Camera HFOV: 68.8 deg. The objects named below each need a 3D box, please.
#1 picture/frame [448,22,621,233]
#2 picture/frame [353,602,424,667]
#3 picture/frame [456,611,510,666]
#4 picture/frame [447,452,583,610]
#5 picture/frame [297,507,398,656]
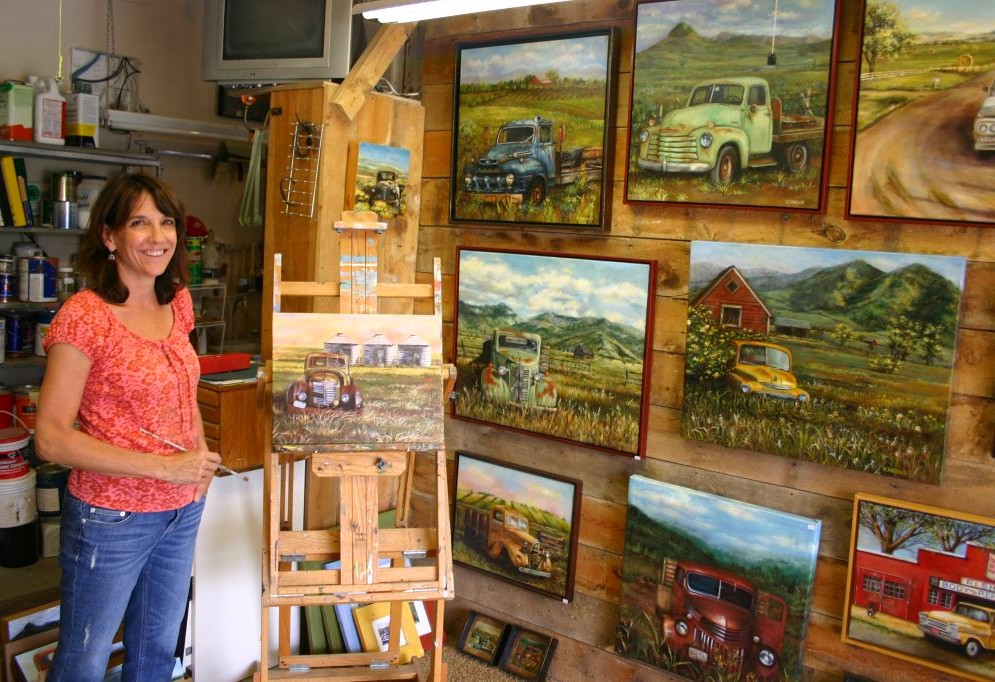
[{"bbox_3d":[0.199,-0.959,3.242,0.977,0.989,0.045,6,6,25],"label":"picture/frame"},{"bbox_3d":[-0.509,1.302,3.304,0.329,0.302,0.076,-4,-26,-35],"label":"picture/frame"},{"bbox_3d":[-0.069,1.468,3.599,0.256,0.241,0.052,20,-17,45],"label":"picture/frame"},{"bbox_3d":[0.109,0.884,3.459,0.768,0.631,0.059,10,7,26],"label":"picture/frame"},{"bbox_3d":[-0.761,1.284,3.458,0.511,0.539,0.126,-4,-4,-17],"label":"picture/frame"}]
